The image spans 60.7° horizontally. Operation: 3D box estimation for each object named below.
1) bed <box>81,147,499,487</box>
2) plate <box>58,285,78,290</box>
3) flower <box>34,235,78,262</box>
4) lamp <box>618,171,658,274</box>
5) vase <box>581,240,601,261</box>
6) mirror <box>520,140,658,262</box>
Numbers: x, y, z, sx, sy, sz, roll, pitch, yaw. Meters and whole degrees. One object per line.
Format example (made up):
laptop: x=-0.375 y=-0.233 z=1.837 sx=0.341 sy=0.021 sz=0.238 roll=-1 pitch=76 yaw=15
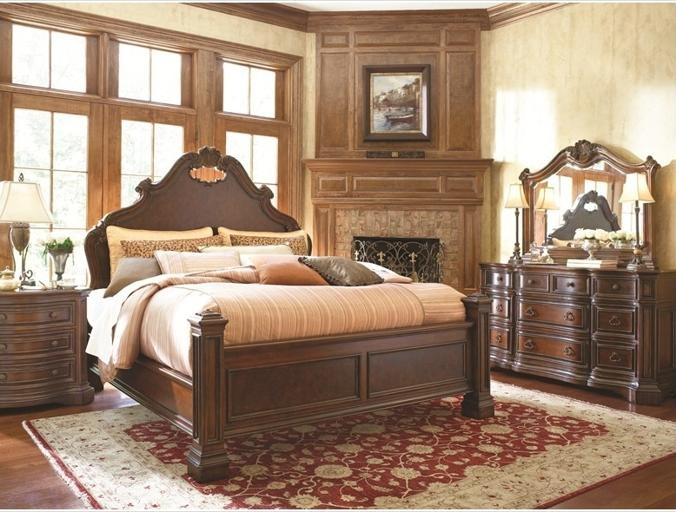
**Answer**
bed: x=-0.678 y=0.535 z=4.885 sx=3.214 sy=1.869 sz=2.850 roll=-1 pitch=1 yaw=-35
plate: x=-2.144 y=0.251 z=4.588 sx=0.148 sy=0.034 sz=0.144 roll=-3 pitch=5 yaw=-23
flower: x=-2.369 y=-0.081 z=4.886 sx=0.384 sy=0.159 sz=0.350 roll=1 pitch=1 yaw=-27
lamp: x=2.662 y=-0.336 z=5.134 sx=0.282 sy=0.835 sz=0.835 roll=1 pitch=7 yaw=27
vase: x=2.400 y=-0.047 z=5.560 sx=0.249 sy=0.193 sz=0.209 roll=0 pitch=-6 yaw=-3
mirror: x=2.538 y=-0.529 z=5.735 sx=0.143 sy=0.993 sz=1.616 roll=-1 pitch=2 yaw=-36
